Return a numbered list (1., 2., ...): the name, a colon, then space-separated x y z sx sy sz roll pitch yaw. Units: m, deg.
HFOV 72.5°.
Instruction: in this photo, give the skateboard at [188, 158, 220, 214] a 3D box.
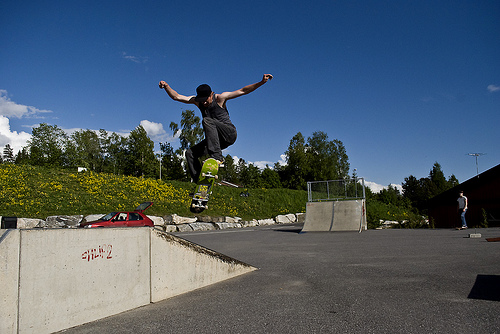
1. skateboard: -1.054 0.401 7.546 0.422 1.503 0.217 6 7 -29
